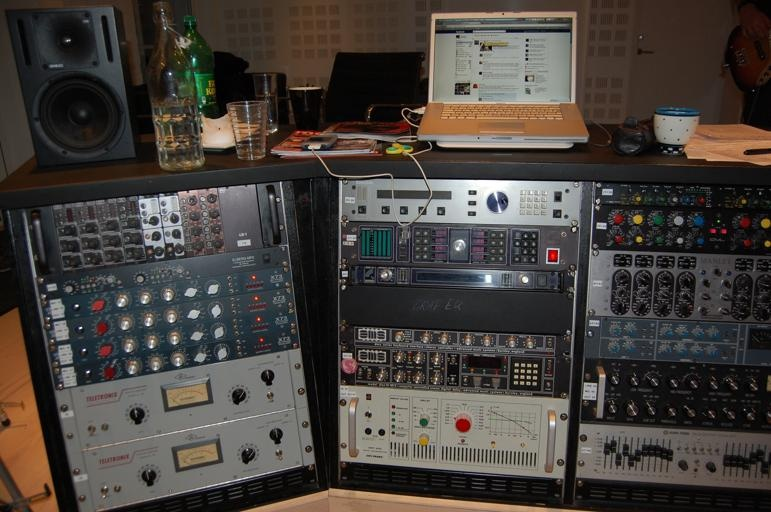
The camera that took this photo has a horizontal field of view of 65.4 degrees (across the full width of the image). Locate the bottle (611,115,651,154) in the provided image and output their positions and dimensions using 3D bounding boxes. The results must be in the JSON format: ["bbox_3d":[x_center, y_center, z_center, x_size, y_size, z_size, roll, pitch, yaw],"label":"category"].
[{"bbox_3d":[0.965,-0.470,2.367,0.143,0.120,0.223,1,24,24],"label":"bottle"}]

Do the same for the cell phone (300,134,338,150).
[{"bbox_3d":[-0.264,-0.452,2.390,0.135,0.071,0.157,1,10,-3],"label":"cell phone"}]

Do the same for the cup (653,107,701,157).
[{"bbox_3d":[1.128,-0.490,2.345,0.153,0.183,0.198,6,11,25],"label":"cup"}]

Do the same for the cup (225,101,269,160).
[{"bbox_3d":[-0.522,-0.486,2.340,0.169,0.222,0.129,-6,12,-34],"label":"cup"}]

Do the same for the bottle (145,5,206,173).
[{"bbox_3d":[-0.791,-0.631,2.248,0.179,0.618,0.250,-3,11,-21],"label":"bottle"}]

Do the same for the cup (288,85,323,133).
[{"bbox_3d":[-0.362,-0.681,2.758,0.195,0.190,0.186,-2,16,1],"label":"cup"}]

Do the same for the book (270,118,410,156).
[{"bbox_3d":[-0.167,-0.489,2.502,0.565,0.159,0.413,1,10,0],"label":"book"}]
